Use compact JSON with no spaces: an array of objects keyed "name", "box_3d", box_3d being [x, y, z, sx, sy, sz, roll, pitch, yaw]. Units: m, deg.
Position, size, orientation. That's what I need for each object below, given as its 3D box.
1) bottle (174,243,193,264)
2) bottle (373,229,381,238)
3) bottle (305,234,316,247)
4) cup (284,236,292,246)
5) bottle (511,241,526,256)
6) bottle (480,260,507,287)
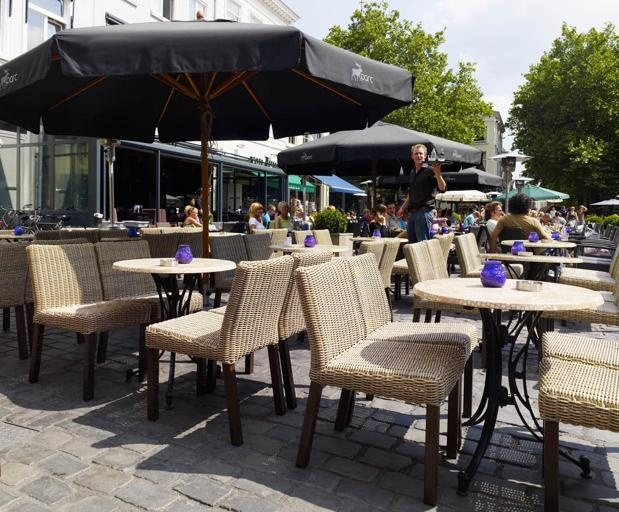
[{"name":"bottle","box_3d":[-1.124,-0.034,4.614,0.159,0.161,0.164,1,-2,10]},{"name":"bottle","box_3d":[1.134,-0.390,8.999,0.150,0.136,0.142,1,2,24]},{"name":"bottle","box_3d":[0.004,-0.213,7.447,0.153,0.143,0.153,0,0,39]},{"name":"cup","box_3d":[-0.301,-0.211,7.503,0.111,0.107,0.112,1,4,0]},{"name":"bottle","box_3d":[2.399,-0.094,6.052,0.175,0.157,0.171,2,-2,-31]},{"name":"bottle","box_3d":[1.196,0.116,3.533,0.176,0.160,0.172,2,0,-35]}]
